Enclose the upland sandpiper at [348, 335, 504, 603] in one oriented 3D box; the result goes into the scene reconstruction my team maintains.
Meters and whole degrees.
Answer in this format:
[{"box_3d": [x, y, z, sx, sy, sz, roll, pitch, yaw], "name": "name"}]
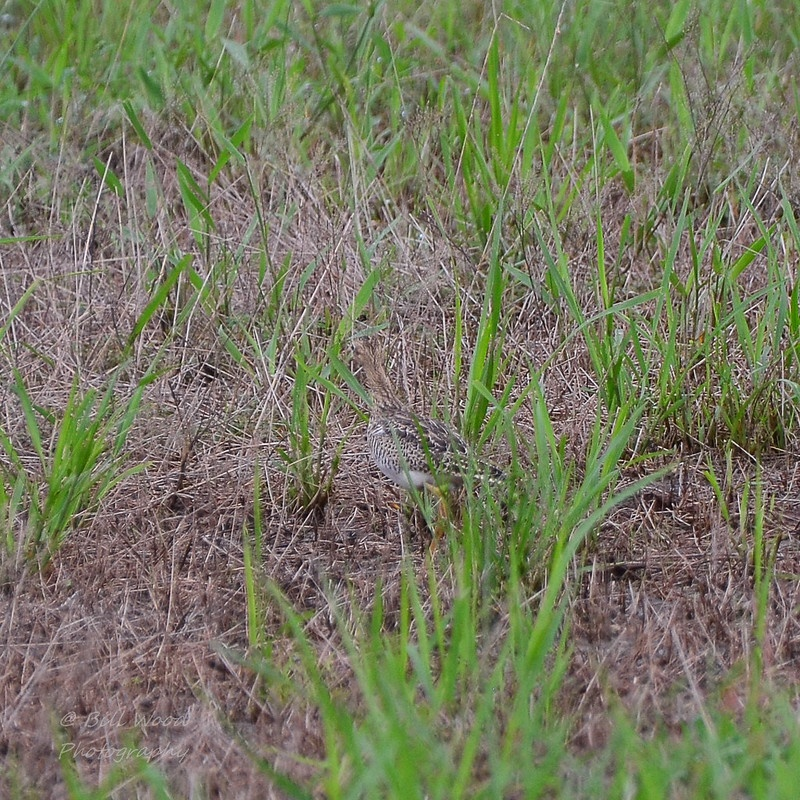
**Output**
[{"box_3d": [0.080, 0.217, 3.675, 0.616, 0.291, 1.076, -6, 71, 20], "name": "upland sandpiper"}]
